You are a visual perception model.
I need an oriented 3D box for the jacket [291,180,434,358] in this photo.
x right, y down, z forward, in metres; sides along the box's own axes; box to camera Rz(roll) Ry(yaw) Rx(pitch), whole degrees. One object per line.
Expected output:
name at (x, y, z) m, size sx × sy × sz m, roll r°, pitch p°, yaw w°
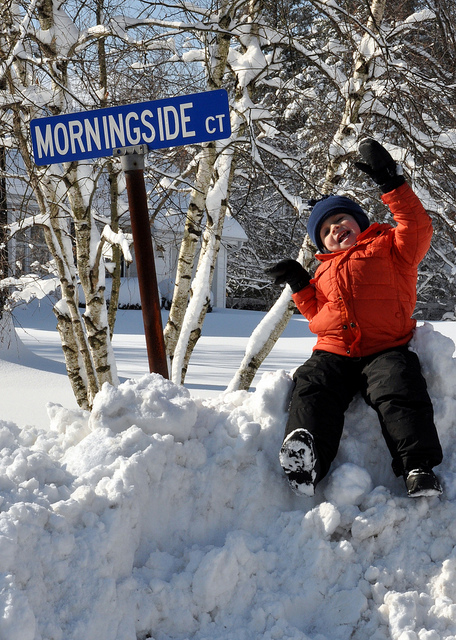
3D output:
jacket at (0.621, -0.239, 3.061) m, size 0.526 × 0.748 × 0.490 m, roll 3°, pitch 17°, yaw 15°

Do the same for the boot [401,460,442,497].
boot at (0.694, 0.592, 2.456) m, size 0.135 × 0.142 × 0.124 m, roll 3°, pitch 17°, yaw 14°

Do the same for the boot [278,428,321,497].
boot at (0.270, 0.539, 2.568) m, size 0.102 × 0.241 × 0.131 m, roll 11°, pitch -33°, yaw -40°

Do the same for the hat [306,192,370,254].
hat at (0.558, -0.516, 3.621) m, size 0.270 × 0.252 × 0.337 m, roll 54°, pitch 10°, yaw 28°

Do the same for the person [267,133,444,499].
person at (0.578, 0.040, 3.008) m, size 0.693 × 0.570 × 1.643 m, roll -16°, pitch 51°, yaw 25°
